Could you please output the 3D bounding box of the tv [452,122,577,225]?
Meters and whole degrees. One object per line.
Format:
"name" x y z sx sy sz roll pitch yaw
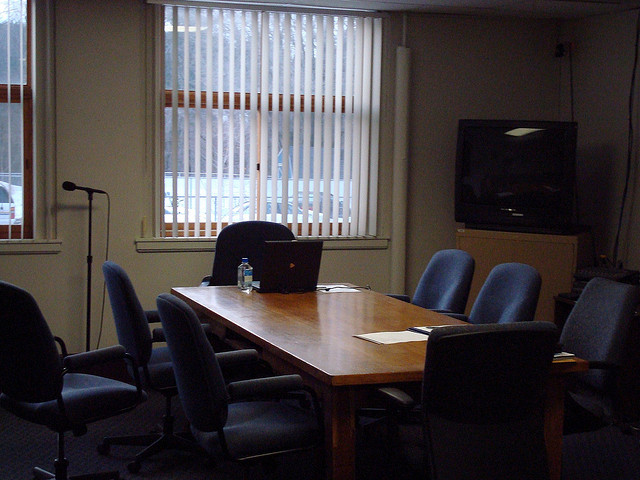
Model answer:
"tv" 1.826 -0.629 5.617 1.059 0.942 0.110 5 9 24

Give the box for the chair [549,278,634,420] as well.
"chair" 1.534 0.675 3.350 0.364 0.839 0.619 5 9 26

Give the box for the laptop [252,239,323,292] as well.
"laptop" -0.204 0.175 4.188 0.342 0.312 0.384 1 3 -19

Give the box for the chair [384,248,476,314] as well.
"chair" 0.879 0.315 4.452 0.547 0.685 0.431 10 -2 -35

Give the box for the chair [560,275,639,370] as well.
"chair" 1.622 0.461 3.404 0.249 0.421 0.402 -2 8 -17

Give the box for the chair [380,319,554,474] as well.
"chair" 0.651 0.599 2.665 0.603 0.925 0.570 0 3 -9

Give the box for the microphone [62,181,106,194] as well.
"microphone" -2.082 -0.461 5.191 0.283 0.078 0.072 12 1 -24

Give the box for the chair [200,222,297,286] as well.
"chair" -0.583 0.111 5.124 0.489 0.755 0.574 6 1 -6

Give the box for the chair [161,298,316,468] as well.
"chair" -0.419 0.663 3.016 0.612 0.893 0.687 1 8 44

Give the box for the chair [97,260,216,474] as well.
"chair" -1.018 0.706 4.185 0.977 1.747 1.099 1 3 -18

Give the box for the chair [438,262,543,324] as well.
"chair" 1.211 0.375 3.846 0.279 0.410 0.511 -1 9 -16
